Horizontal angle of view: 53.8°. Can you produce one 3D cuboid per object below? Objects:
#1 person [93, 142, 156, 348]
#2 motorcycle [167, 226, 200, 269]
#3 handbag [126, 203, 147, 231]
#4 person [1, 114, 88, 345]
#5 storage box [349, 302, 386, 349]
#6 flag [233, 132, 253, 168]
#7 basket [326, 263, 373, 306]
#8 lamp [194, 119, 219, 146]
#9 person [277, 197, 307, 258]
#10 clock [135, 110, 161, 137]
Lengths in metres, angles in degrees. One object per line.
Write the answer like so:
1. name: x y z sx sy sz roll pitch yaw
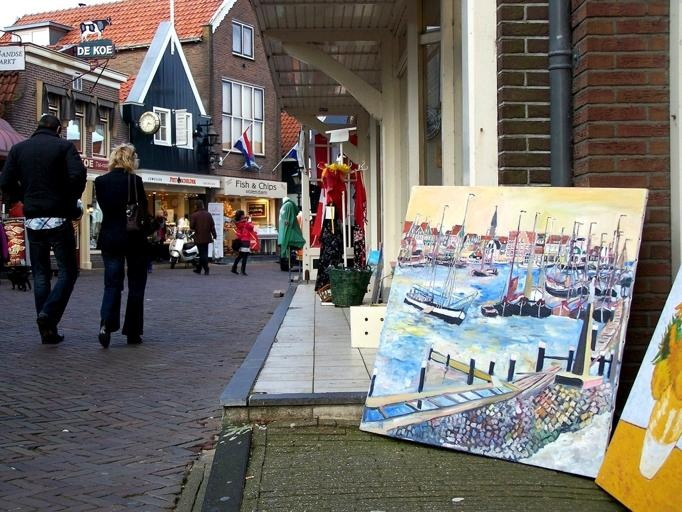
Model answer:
1. person: -2.450 -0.103 7.515 0.633 2.254 0.652 -3 7 -26
2. motorcycle: -5.559 -0.225 24.040 0.989 1.294 1.953 6 5 14
3. handbag: -2.278 -0.417 7.413 0.267 0.352 0.163 0 -7 -1
4. person: -3.428 -0.317 7.770 0.786 2.650 1.027 -5 8 -40
5. storage box: 0.251 0.696 6.670 0.373 0.399 0.388 -1 1 0
6. flag: -4.957 -5.403 34.771 0.908 2.663 0.386 -4 51 0
7. basket: 0.122 0.449 10.346 0.636 0.567 0.576 2 -4 -25
8. lamp: -6.853 -5.972 33.236 1.306 1.349 1.110 -1 -1 -44
9. person: -1.292 -0.665 17.222 0.650 1.652 2.275 0 7 -5
10. clock: -8.362 -5.714 29.092 0.822 0.972 0.492 2 7 17
